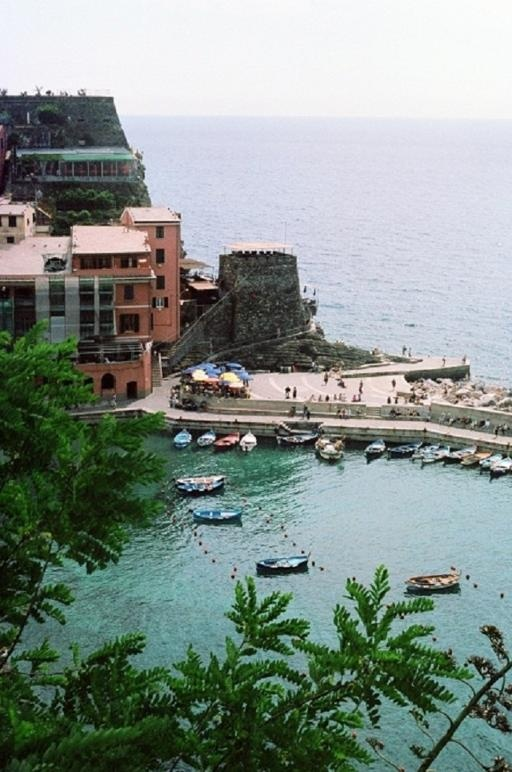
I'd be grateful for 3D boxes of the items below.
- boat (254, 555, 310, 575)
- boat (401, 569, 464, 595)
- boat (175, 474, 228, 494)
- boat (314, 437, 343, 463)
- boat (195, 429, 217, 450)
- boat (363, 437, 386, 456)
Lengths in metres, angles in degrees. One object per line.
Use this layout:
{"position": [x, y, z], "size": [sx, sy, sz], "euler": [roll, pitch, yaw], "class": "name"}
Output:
{"position": [1.484, 10.184, 47.417], "size": [1.862, 0.430, 1.316], "euler": [0, 20, -5], "class": "boat"}
{"position": [9.831, 10.831, 45.902], "size": [2.350, 0.975, 1.284], "euler": [-4, 22, -4], "class": "boat"}
{"position": [-3.791, 6.881, 57.666], "size": [2.336, 0.744, 1.412], "euler": [-7, 20, -10], "class": "boat"}
{"position": [5.710, 5.118, 65.988], "size": [1.573, 1.368, 4.325], "euler": [0, 4, 3], "class": "boat"}
{"position": [-4.030, 4.315, 67.300], "size": [1.557, 1.114, 2.104], "euler": [4, 3, -3], "class": "boat"}
{"position": [9.705, 4.919, 67.075], "size": [0.794, 0.797, 2.246], "euler": [16, 31, 21], "class": "boat"}
